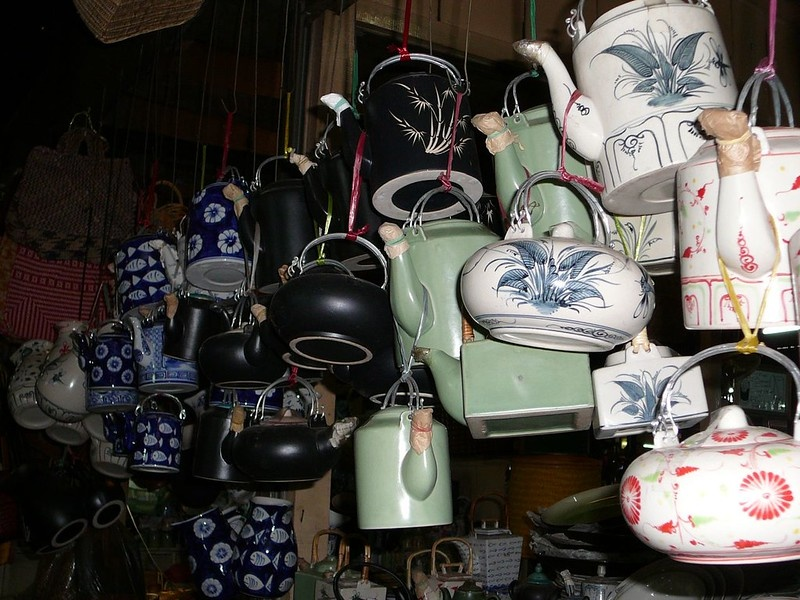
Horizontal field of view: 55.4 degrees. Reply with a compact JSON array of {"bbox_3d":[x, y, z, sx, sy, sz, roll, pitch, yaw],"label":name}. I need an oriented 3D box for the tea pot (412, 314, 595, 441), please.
[{"bbox_3d":[0.188,0.159,1.305,0.252,0.201,0.165,-3,-45,7],"label":"tea pot"}]

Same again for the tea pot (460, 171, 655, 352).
[{"bbox_3d":[0.278,-0.062,1.321,0.312,0.335,0.311,6,-12,1],"label":"tea pot"}]

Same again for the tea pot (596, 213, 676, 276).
[{"bbox_3d":[0.445,-0.090,1.418,0.184,0.112,0.107,5,-1,19],"label":"tea pot"}]

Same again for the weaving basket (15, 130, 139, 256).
[{"bbox_3d":[-1.246,-0.392,2.921,0.466,0.523,0.191,5,11,-35],"label":"weaving basket"}]
